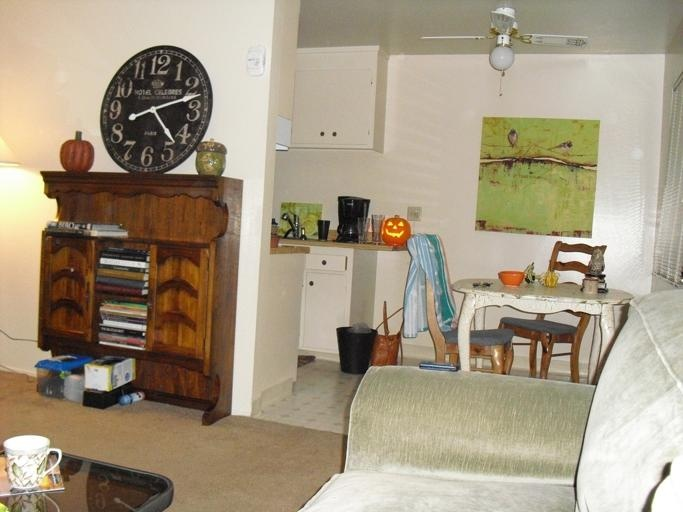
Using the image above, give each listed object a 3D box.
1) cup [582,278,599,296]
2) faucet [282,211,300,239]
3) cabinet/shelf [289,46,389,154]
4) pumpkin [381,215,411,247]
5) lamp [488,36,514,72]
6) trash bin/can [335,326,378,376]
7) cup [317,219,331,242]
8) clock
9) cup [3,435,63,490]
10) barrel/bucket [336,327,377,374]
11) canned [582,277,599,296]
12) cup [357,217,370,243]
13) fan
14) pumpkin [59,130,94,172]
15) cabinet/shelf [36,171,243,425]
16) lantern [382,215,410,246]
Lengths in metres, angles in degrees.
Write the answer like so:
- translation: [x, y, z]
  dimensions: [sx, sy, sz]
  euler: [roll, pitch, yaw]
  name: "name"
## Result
- translation: [1.508, 0.190, 3.342]
  dimensions: [0.102, 0.110, 0.087]
  euler: [1, 1, 29]
  name: "cup"
- translation: [-0.464, -0.302, 5.430]
  dimensions: [0.246, 0.335, 0.184]
  euler: [2, 0, -3]
  name: "faucet"
- translation: [-0.025, -1.456, 5.035]
  dimensions: [1.040, 1.086, 0.455]
  euler: [3, 6, 15]
  name: "cabinet/shelf"
- translation: [0.487, -0.224, 4.921]
  dimensions: [0.231, 0.303, 0.267]
  euler: [0, -9, 9]
  name: "pumpkin"
- translation: [1.054, -1.340, 3.628]
  dimensions: [0.188, 0.273, 0.197]
  euler: [0, -4, 17]
  name: "lamp"
- translation: [0.129, 0.784, 4.674]
  dimensions: [0.342, 0.362, 0.365]
  euler: [2, -2, -28]
  name: "trash bin/can"
- translation: [-0.164, -0.252, 5.346]
  dimensions: [0.159, 0.233, 0.177]
  euler: [-4, 6, -33]
  name: "cup"
- translation: [-1.155, -0.931, 3.529]
  dimensions: [0.821, 0.898, 0.060]
  euler: [1, 0, 23]
  name: "clock"
- translation: [-0.975, 0.651, 1.725]
  dimensions: [0.131, 0.158, 0.068]
  euler: [3, 5, -9]
  name: "cup"
- translation: [0.110, 0.755, 4.555]
  dimensions: [0.336, 0.367, 0.362]
  euler: [1, -2, 0]
  name: "barrel/bucket"
- translation: [1.510, 0.181, 3.394]
  dimensions: [0.116, 0.107, 0.075]
  euler: [-1, 1, -24]
  name: "canned"
- translation: [0.203, -0.242, 5.104]
  dimensions: [0.091, 0.221, 0.181]
  euler: [5, 6, 8]
  name: "cup"
- translation: [1.134, -1.434, 3.724]
  dimensions: [0.742, 0.207, 0.781]
  euler: [0, 2, -3]
  name: "fan"
- translation: [-1.664, -0.670, 3.576]
  dimensions: [0.253, 0.275, 0.228]
  euler: [6, 6, 21]
  name: "pumpkin"
- translation: [-1.190, 0.288, 3.367]
  dimensions: [1.343, 1.789, 0.495]
  euler: [2, -1, 15]
  name: "cabinet/shelf"
- translation: [0.487, -0.218, 4.924]
  dimensions: [0.229, 0.300, 0.255]
  euler: [0, -6, 10]
  name: "lantern"
